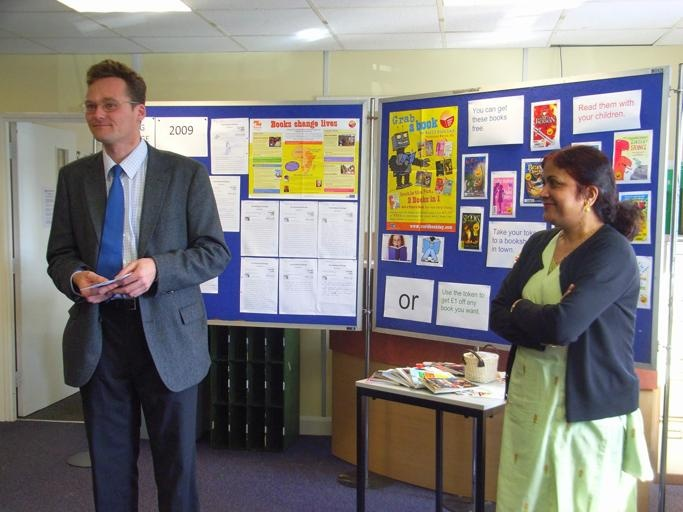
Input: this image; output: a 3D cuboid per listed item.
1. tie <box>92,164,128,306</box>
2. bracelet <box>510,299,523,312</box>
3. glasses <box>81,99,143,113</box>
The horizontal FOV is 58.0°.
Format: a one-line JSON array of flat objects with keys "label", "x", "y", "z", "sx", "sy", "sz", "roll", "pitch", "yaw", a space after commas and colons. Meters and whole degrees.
[{"label": "tie", "x": -0.978, "y": -0.151, "z": 2.644, "sx": 0.108, "sy": 0.475, "sz": 0.130, "roll": 2, "pitch": 8, "yaw": 0}, {"label": "bracelet", "x": 0.753, "y": 0.216, "z": 2.679, "sx": 0.019, "sy": 0.053, "sz": 0.046, "roll": 30, "pitch": 28, "yaw": 14}, {"label": "glasses", "x": -0.975, "y": -0.648, "z": 2.654, "sx": 0.238, "sy": 0.077, "sz": 0.088, "roll": 0, "pitch": 8, "yaw": -18}]
